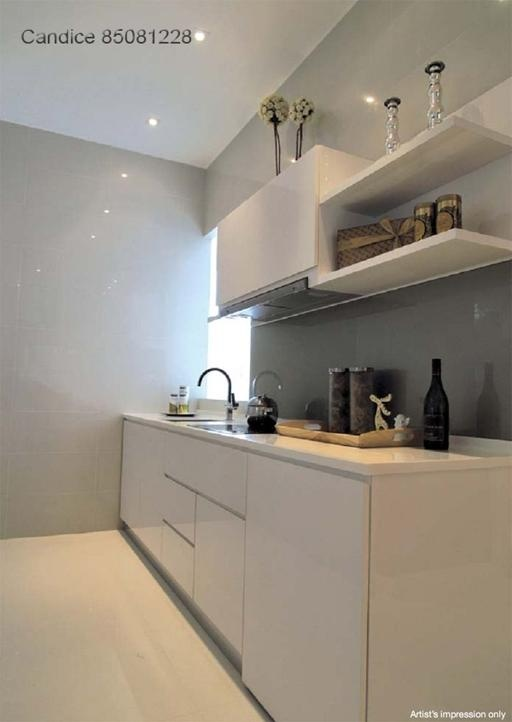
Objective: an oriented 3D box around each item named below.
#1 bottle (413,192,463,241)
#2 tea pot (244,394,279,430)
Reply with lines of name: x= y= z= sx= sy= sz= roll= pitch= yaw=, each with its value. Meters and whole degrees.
bottle: x=0.500 y=-0.397 z=1.456 sx=0.081 sy=0.126 sz=0.162 roll=2 pitch=2 yaw=-13
tea pot: x=0.022 y=0.225 z=2.262 sx=0.097 sy=0.159 sz=0.144 roll=0 pitch=2 yaw=-4
